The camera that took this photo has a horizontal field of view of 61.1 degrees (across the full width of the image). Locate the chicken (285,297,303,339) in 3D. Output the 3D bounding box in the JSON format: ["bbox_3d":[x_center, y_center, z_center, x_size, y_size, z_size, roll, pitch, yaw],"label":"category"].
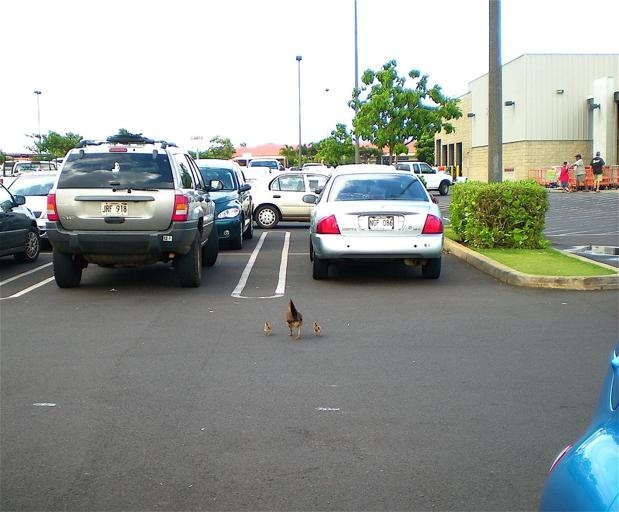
[{"bbox_3d":[-0.199,0.777,6.741,0.190,0.497,0.635,-3,11,-4],"label":"chicken"}]

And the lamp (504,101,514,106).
[{"bbox_3d":[18.636,-14.169,48.629,0.644,0.293,0.373,-1,-2,0],"label":"lamp"}]

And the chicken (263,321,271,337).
[{"bbox_3d":[-0.558,0.959,6.866,0.118,0.248,0.126,-1,-6,-5],"label":"chicken"}]

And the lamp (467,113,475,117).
[{"bbox_3d":[18.989,-16.565,61.327,0.537,0.645,1.610,1,7,6],"label":"lamp"}]

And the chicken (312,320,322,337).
[{"bbox_3d":[0.081,0.946,6.729,0.048,0.177,0.113,2,16,32],"label":"chicken"}]

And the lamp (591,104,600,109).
[{"bbox_3d":[24.254,-12.646,44.211,0.415,0.520,0.798,0,7,4],"label":"lamp"}]
